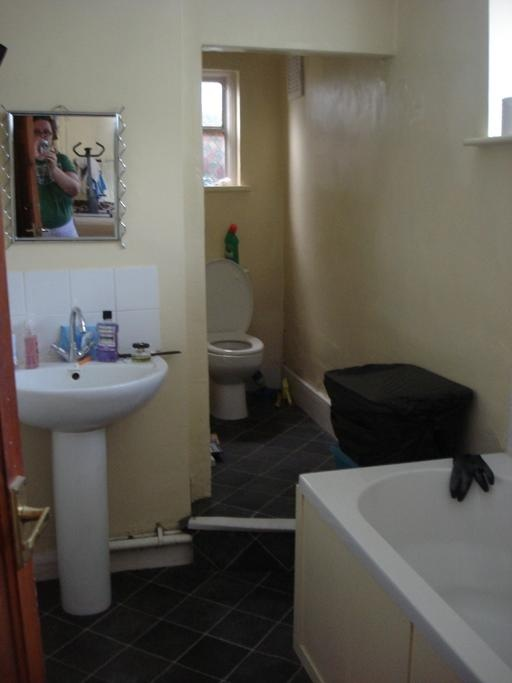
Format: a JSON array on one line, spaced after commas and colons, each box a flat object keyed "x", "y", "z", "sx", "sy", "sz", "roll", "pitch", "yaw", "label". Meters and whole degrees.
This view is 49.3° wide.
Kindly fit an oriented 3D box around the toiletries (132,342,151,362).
[{"x": -0.393, "y": 0.027, "z": 1.906, "sx": 0.062, "sy": 0.078, "sz": 0.067, "roll": 7, "pitch": 14, "yaw": 23, "label": "toiletries"}]

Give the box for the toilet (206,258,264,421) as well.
[{"x": -0.134, "y": -0.007, "z": 3.321, "sx": 0.314, "sy": 0.963, "sz": 0.476, "roll": -1, "pitch": 7, "yaw": -6, "label": "toilet"}]

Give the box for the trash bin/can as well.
[{"x": 0.542, "y": 0.205, "z": 1.866, "sx": 0.239, "sy": 0.253, "sz": 0.358, "roll": -1, "pitch": 23, "yaw": 9, "label": "trash bin/can"}]

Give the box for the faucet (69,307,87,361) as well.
[{"x": -0.598, "y": -0.028, "z": 1.868, "sx": 0.054, "sy": 0.176, "sz": 0.136, "roll": -2, "pitch": 7, "yaw": -17, "label": "faucet"}]

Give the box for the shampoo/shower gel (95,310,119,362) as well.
[{"x": -0.492, "y": -0.029, "z": 1.846, "sx": 0.076, "sy": 0.203, "sz": 0.048, "roll": 1, "pitch": 38, "yaw": -14, "label": "shampoo/shower gel"}]
